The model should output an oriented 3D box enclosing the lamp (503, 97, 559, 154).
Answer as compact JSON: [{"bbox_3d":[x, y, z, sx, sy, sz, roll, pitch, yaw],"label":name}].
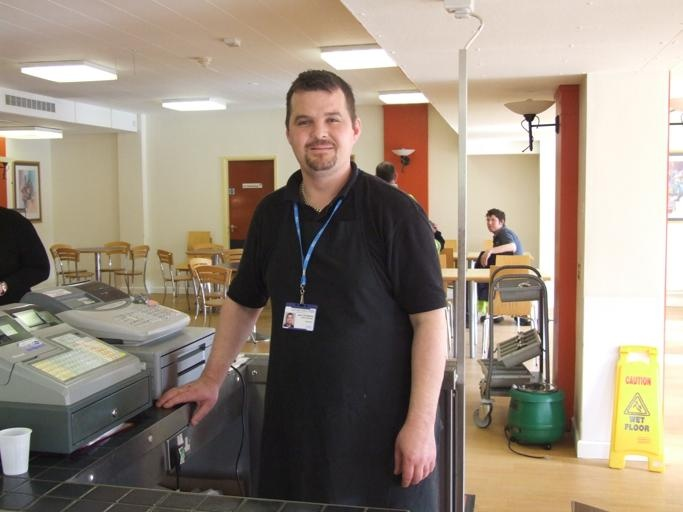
[{"bbox_3d":[1.624,-1.103,4.807,0.417,0.445,0.435,-1,-1,10],"label":"lamp"}]

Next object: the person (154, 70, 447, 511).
[{"bbox_3d":[-0.066,0.123,1.765,0.784,1.378,0.306,3,8,28],"label":"person"}]

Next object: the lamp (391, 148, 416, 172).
[{"bbox_3d":[0.994,-1.500,8.835,0.288,0.246,0.282,3,1,32],"label":"lamp"}]

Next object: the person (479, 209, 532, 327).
[{"bbox_3d":[1.998,0.118,7.033,0.690,1.420,0.658,-5,-6,6],"label":"person"}]
